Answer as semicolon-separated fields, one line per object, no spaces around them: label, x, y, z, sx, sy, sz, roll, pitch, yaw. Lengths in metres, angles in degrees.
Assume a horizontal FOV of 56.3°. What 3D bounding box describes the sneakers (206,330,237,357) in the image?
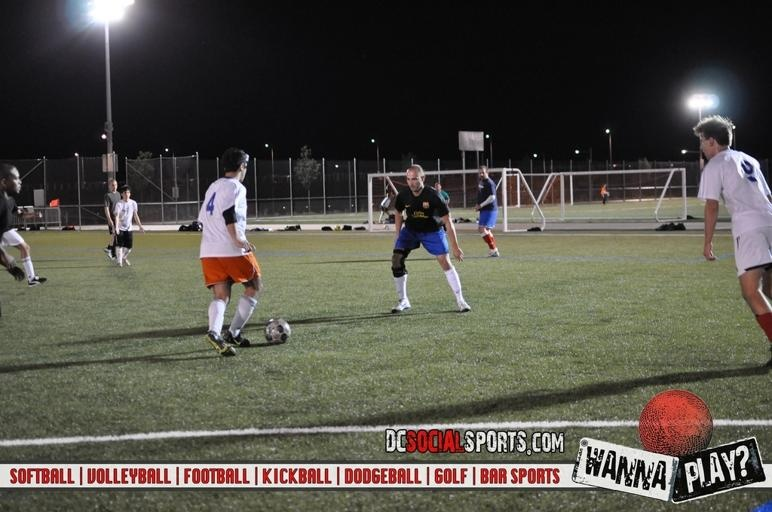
sneakers;-1.740;0.929;7.803;0.272;0.294;0.371;1;8;10

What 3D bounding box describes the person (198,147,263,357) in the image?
person;-1.702;-0.048;7.886;0.627;2.217;0.682;-2;7;-14

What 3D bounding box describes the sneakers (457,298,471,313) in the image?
sneakers;1.078;0.697;9.886;0.078;0.166;0.175;-21;-12;-2

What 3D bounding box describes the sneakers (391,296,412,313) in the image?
sneakers;0.223;0.697;9.953;0.124;0.165;0.349;-4;-6;29

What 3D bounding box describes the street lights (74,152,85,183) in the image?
street lights;-17.547;-4.948;41.493;0.426;1.424;0.260;-6;8;-36

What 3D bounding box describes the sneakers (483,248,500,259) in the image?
sneakers;2.562;-0.066;16.975;0.355;0.207;0.285;-4;9;-24

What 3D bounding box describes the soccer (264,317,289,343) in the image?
soccer;-1.262;0.872;8.404;0.277;0.264;0.284;2;33;-7
